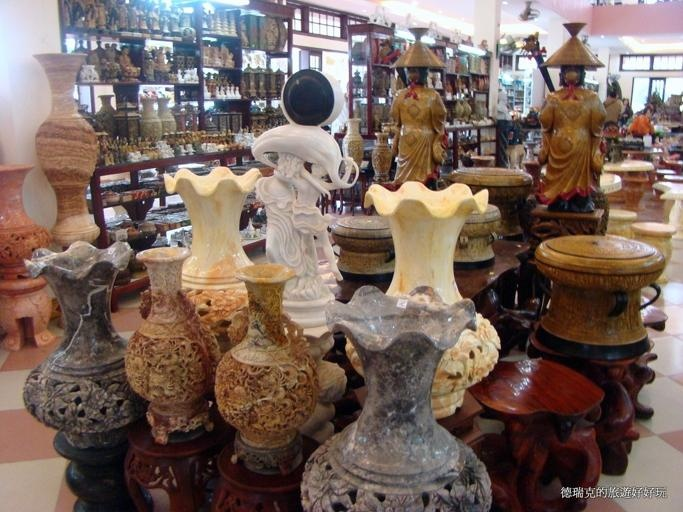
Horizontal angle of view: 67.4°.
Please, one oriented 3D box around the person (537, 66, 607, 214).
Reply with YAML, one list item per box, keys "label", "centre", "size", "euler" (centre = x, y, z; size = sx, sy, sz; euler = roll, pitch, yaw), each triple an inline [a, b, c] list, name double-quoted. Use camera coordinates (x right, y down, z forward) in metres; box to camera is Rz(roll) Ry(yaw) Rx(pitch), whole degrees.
- label: "person"
  centre: [1.649, -0.846, 3.679]
  size: [0.428, 1.114, 0.311]
  euler: [5, 32, 30]
